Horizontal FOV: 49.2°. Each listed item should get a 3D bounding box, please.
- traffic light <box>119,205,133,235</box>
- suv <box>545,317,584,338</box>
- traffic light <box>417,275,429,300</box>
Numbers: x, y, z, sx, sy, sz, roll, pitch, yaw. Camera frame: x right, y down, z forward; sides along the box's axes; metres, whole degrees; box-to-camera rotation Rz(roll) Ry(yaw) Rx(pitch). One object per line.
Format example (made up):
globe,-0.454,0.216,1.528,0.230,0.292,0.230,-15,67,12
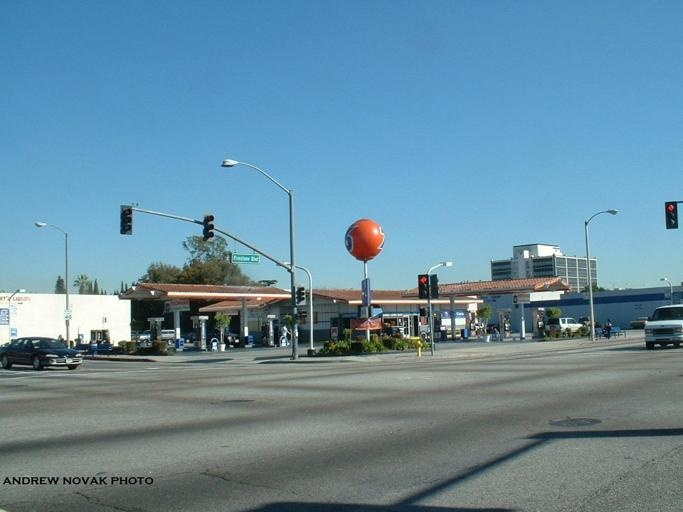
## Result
traffic light,-8.795,-1.460,30.401,0.431,1.146,0.310,-2,-6,-6
suv,18.137,6.227,60.927,3.675,1.546,1.763,-3,2,-42
traffic light,4.221,1.636,38.252,0.492,1.210,1.440,-3,-7,4
